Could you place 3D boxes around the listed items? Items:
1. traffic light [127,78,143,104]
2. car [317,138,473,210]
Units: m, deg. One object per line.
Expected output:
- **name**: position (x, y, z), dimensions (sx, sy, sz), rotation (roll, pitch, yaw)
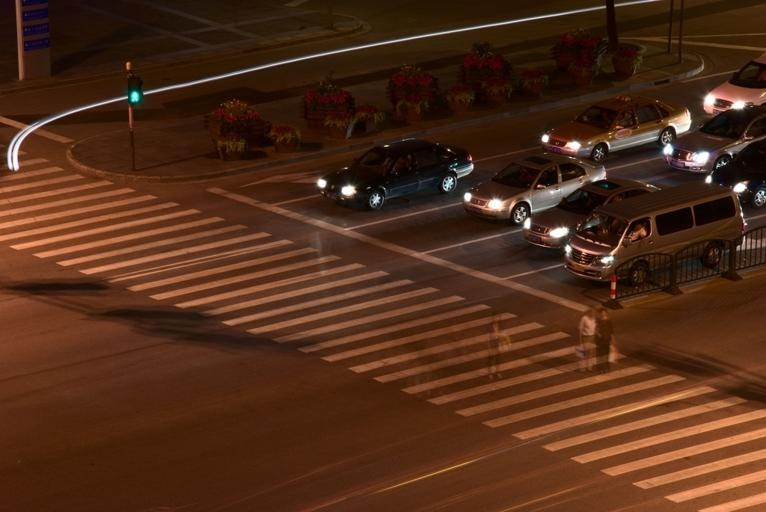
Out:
- **traffic light**: position (-9.851, -6.602, 34.351), dimensions (0.577, 1.178, 0.917), rotation (-8, 25, -15)
- **car**: position (0.525, -3.238, 32.914), dimensions (6.541, 1.442, 2.400), rotation (-12, 33, -23)
